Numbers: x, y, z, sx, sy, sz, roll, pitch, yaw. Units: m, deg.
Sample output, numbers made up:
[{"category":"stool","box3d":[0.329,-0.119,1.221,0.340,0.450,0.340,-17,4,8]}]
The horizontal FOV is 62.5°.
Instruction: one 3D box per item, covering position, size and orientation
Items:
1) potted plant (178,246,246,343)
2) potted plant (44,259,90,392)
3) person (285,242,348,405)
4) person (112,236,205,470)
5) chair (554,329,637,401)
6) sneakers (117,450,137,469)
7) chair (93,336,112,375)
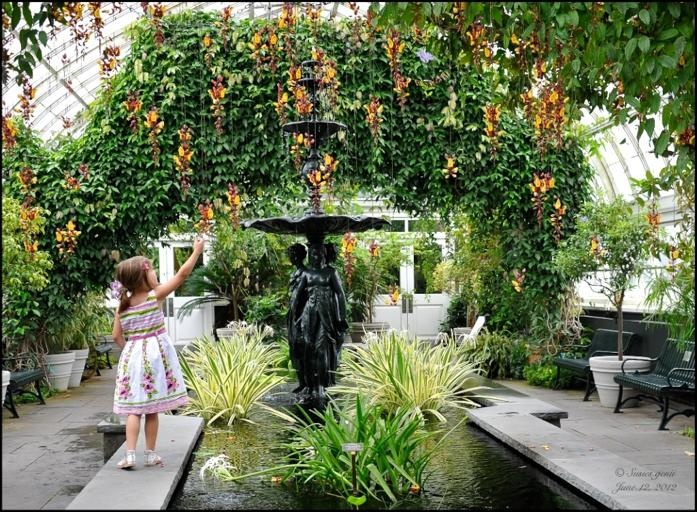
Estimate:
[{"category":"potted plant","box3d":[-2.614,0.755,11.015,1.710,2.043,1.071,0,27,-12]},{"category":"potted plant","box3d":[-4.100,1.300,8.378,0.567,1.324,1.499,-1,2,-24]},{"category":"person","box3d":[-0.288,0.616,5.424,0.581,1.451,0.292,0,3,9]},{"category":"person","box3d":[-1.251,0.593,3.712,0.506,1.388,0.504,-1,3,-24]},{"category":"chair","box3d":[3.152,1.400,7.413,0.719,0.844,1.222,-1,-5,0]},{"category":"sneakers","box3d":[-1.360,1.234,3.510,0.062,0.109,0.163,2,0,-26]},{"category":"chair","box3d":[-4.420,1.805,10.280,0.261,0.491,0.703,0,-1,-2]}]
